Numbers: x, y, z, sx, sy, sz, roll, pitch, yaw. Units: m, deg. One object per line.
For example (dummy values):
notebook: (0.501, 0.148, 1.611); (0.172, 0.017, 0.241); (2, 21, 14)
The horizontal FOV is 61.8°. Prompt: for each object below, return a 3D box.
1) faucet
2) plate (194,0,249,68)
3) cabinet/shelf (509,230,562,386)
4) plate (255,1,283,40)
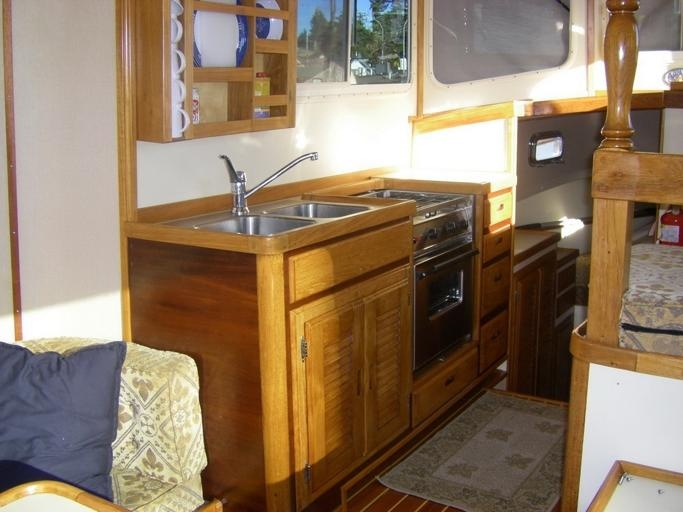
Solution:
faucet: (-0.351, -0.344, 2.589); (0.450, 0.257, 0.396); (-7, 14, -23)
plate: (-0.479, -0.856, 2.256); (0.276, 0.275, 0.039); (-10, 21, -37)
cabinet/shelf: (1.258, 0.451, 3.852); (0.246, 1.108, 0.844); (5, 14, 28)
plate: (-0.311, -1.006, 2.460); (0.043, 0.165, 0.166); (22, 42, 40)
